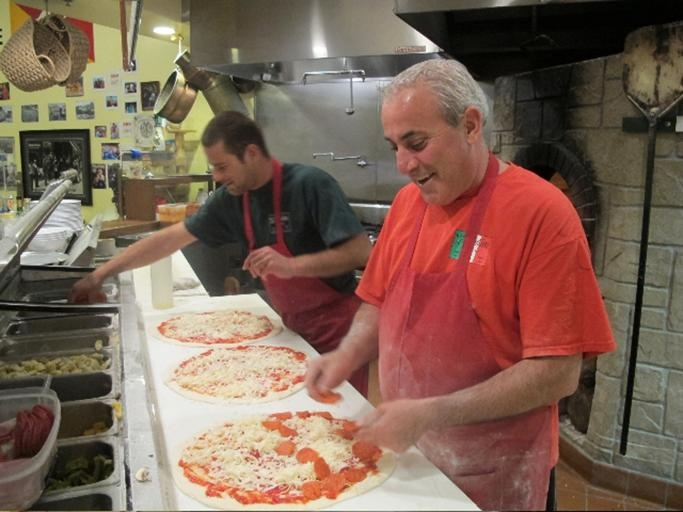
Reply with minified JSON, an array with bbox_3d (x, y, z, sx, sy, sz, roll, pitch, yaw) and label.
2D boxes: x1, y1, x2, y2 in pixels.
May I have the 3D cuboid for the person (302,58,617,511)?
[{"bbox_3d":[0.271,-0.022,1.501,0.586,1.070,0.799,-9,11,-36],"label":"person"}]

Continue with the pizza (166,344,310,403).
[{"bbox_3d":[-0.407,0.455,2.023,0.525,0.067,0.467,-2,9,0],"label":"pizza"}]

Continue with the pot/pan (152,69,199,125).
[{"bbox_3d":[-1.208,-1.132,3.731,0.151,0.360,0.315,23,-33,-29],"label":"pot/pan"}]

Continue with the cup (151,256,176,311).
[{"bbox_3d":[-0.918,0.138,2.616,0.071,0.274,0.069,-7,3,0],"label":"cup"}]

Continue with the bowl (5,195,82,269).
[{"bbox_3d":[-1.631,-0.102,2.897,0.359,0.146,0.608,11,36,-21],"label":"bowl"}]
